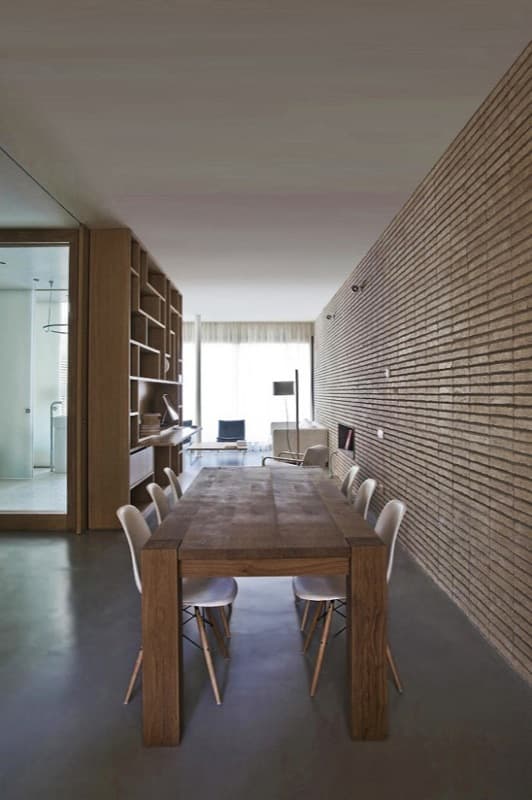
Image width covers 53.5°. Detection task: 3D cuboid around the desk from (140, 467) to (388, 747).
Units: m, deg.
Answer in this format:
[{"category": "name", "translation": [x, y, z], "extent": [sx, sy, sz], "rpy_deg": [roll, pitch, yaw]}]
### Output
[{"category": "desk", "translation": [-0.012, 0.807, 2.337], "extent": [0.859, 0.666, 1.147], "rpy_deg": [0, 2, -1]}]

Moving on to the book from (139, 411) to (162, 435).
[{"category": "book", "translation": [-1.263, 0.248, 5.709], "extent": [0.197, 0.240, 0.132], "rpy_deg": [0, -4, 27]}]

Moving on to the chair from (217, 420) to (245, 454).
[{"category": "chair", "translation": [-0.635, 0.644, 9.397], "extent": [0.452, 0.769, 0.560], "rpy_deg": [0, -5, 1]}]
